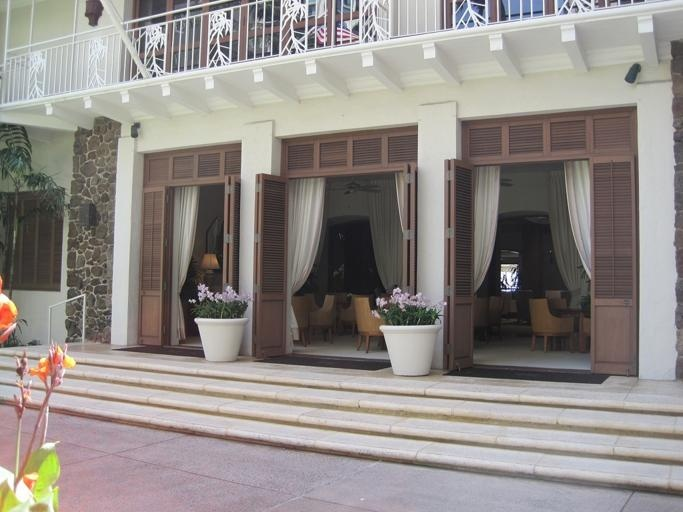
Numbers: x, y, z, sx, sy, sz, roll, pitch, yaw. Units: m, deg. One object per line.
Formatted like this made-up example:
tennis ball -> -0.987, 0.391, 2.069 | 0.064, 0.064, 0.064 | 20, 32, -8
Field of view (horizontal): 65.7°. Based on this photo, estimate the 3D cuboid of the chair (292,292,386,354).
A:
chair -> -0.154, 1.077, 9.455 | 0.979, 0.929, 1.346 | -2, -22, 6

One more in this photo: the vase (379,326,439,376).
vase -> 0.813, 1.107, 6.290 | 0.588, 0.472, 0.615 | 0, -10, 3

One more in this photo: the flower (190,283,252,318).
flower -> -1.751, 0.637, 7.919 | 0.784, 0.538, 1.282 | -3, 3, -11

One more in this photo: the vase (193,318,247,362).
vase -> -1.673, 1.120, 7.287 | 0.593, 0.488, 0.619 | -1, -10, 1

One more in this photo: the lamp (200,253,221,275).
lamp -> -2.719, 0.143, 11.011 | 0.362, 0.405, 0.507 | -3, 3, -14

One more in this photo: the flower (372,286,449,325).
flower -> 0.980, 0.656, 6.632 | 0.553, 0.372, 0.692 | 12, 3, -24
